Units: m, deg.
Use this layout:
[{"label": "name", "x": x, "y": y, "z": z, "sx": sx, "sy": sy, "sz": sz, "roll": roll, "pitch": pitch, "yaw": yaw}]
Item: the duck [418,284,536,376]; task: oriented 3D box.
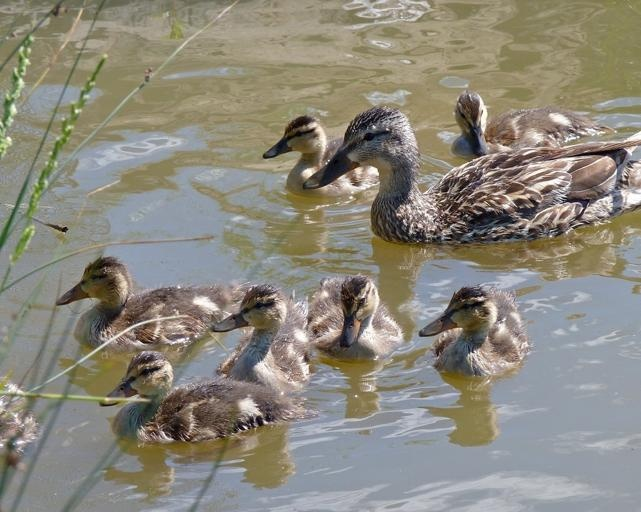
[{"label": "duck", "x": 1.475, "y": 0.567, "z": 6.108, "sx": 0.720, "sy": 0.531, "sz": 1.121, "roll": 15, "pitch": 32, "yaw": 39}]

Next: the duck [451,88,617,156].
[{"label": "duck", "x": 2.439, "y": -1.584, "z": 8.811, "sx": 2.489, "sy": 0.832, "sz": 0.788, "roll": -2, "pitch": -1, "yaw": -2}]
